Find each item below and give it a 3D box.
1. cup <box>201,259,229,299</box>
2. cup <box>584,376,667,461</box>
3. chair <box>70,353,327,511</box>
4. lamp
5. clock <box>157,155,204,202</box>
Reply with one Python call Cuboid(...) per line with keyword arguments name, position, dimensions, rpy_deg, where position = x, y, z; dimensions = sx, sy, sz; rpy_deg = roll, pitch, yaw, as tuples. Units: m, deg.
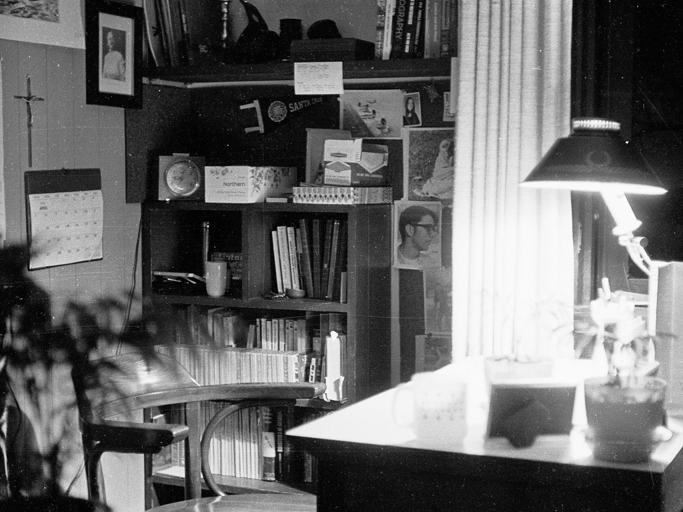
Cuboid(name="cup", position=(-0.158, 0.027, 1.081), dimensions=(0.030, 0.045, 0.028), rpy_deg=(2, 14, 0))
Cuboid(name="cup", position=(0.410, 0.233, 1.236), dimensions=(0.143, 0.121, 0.118), rpy_deg=(5, -3, -35))
Cuboid(name="chair", position=(-0.182, 0.162, 1.105), dimensions=(0.188, 0.251, 0.248), rpy_deg=(-2, 0, 42))
Cuboid(name="lamp", position=(0.417, -0.079, 1.371), dimensions=(0.222, 0.264, 0.279), rpy_deg=(0, -4, 24))
Cuboid(name="clock", position=(-0.196, -0.093, 1.051), dimensions=(0.057, 0.053, 0.016), rpy_deg=(1, -2, -19))
